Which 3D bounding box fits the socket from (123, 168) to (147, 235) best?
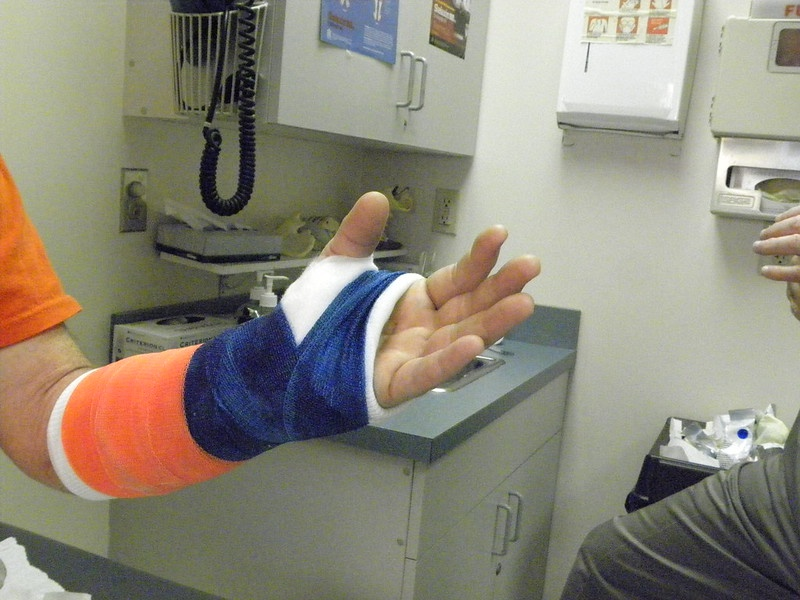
[{"bbox_3d":[-0.584,-0.217,1.448,0.063,0.123,0.016,4,4,9],"label":"socket"}]
